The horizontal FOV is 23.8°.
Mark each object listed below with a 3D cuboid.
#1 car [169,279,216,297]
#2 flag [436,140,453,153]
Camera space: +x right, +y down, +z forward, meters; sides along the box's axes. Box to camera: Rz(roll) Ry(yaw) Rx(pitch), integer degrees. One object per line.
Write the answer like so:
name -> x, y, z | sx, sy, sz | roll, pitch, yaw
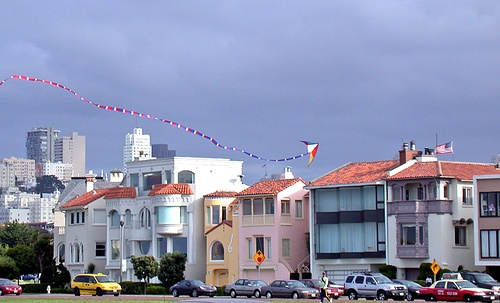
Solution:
car -> -7.883, 17.743, 154.380 | 4.855, 1.417, 2.453 | -6, -8, 33
flag -> 22.874, -0.469, 139.580 | 2.127, 1.490, 0.293 | 0, 5, 26
